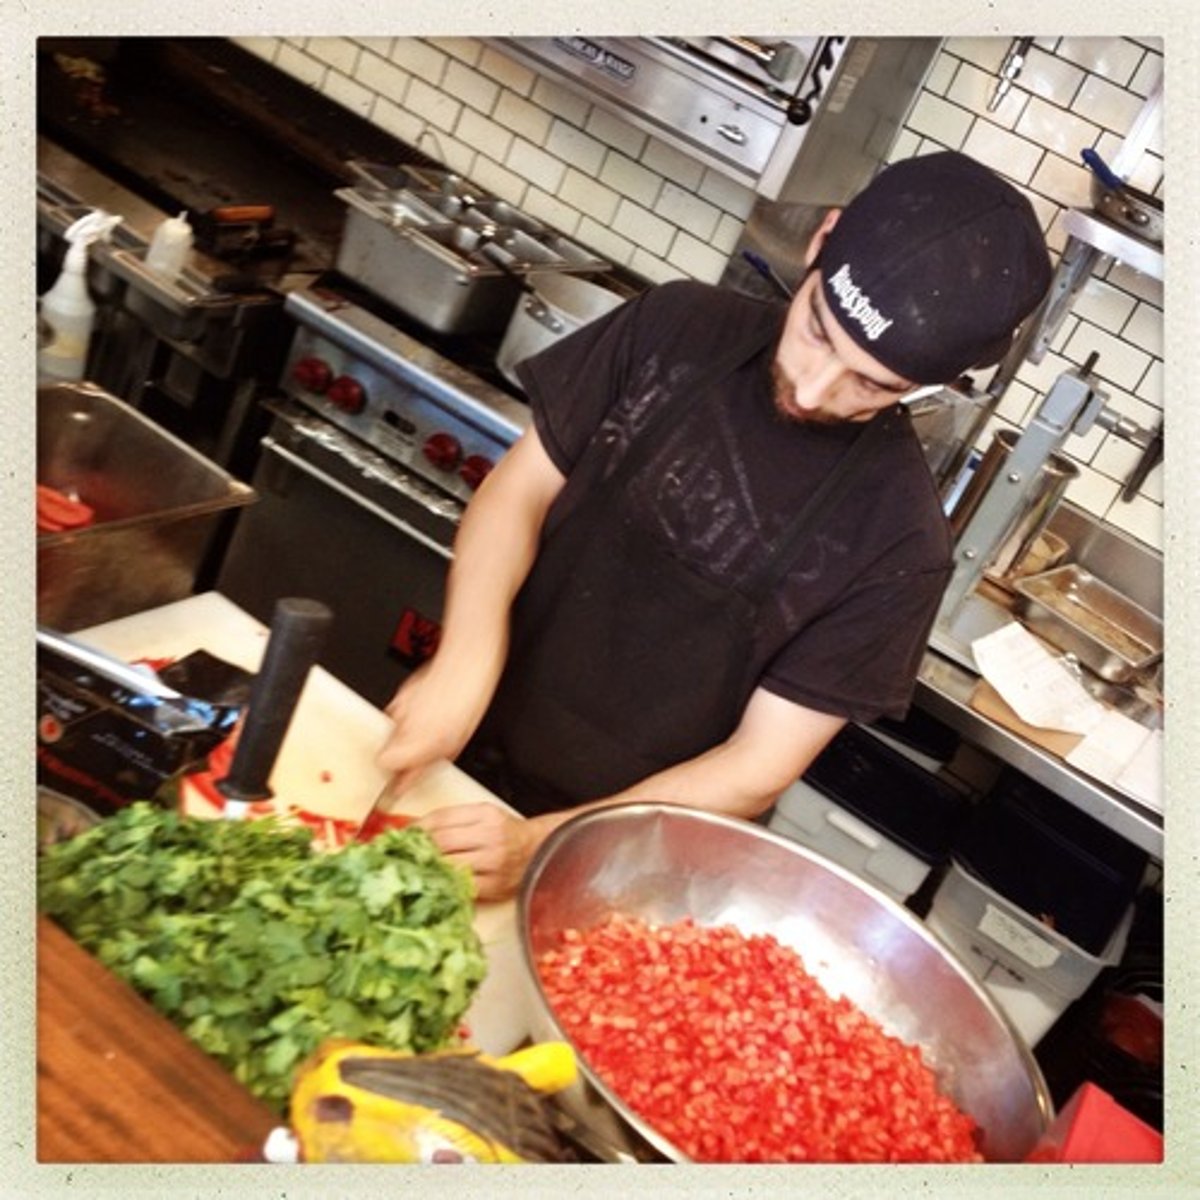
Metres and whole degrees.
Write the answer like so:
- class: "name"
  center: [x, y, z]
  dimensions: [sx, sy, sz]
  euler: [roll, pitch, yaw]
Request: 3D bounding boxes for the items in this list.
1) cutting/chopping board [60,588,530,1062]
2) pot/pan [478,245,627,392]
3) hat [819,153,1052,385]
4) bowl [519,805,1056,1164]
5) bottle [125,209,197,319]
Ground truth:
- class: "cutting/chopping board"
  center: [-0.306, 0.183, 1.082]
  dimensions: [0.476, 0.022, 0.421]
  euler: [33, 9, 15]
- class: "pot/pan"
  center: [-0.077, -0.629, 2.303]
  dimensions: [0.297, 0.212, 0.269]
  euler: [20, 43, -10]
- class: "hat"
  center: [0.400, -0.393, 1.190]
  dimensions: [0.200, 0.160, 0.277]
  euler: [47, 52, 1]
- class: "bowl"
  center: [0.165, 0.274, 0.900]
  dimensions: [0.343, 0.152, 0.325]
  euler: [26, 26, -14]
- class: "bottle"
  center: [-0.884, -0.725, 2.096]
  dimensions: [0.119, 0.243, 0.116]
  euler: [14, 27, -7]
